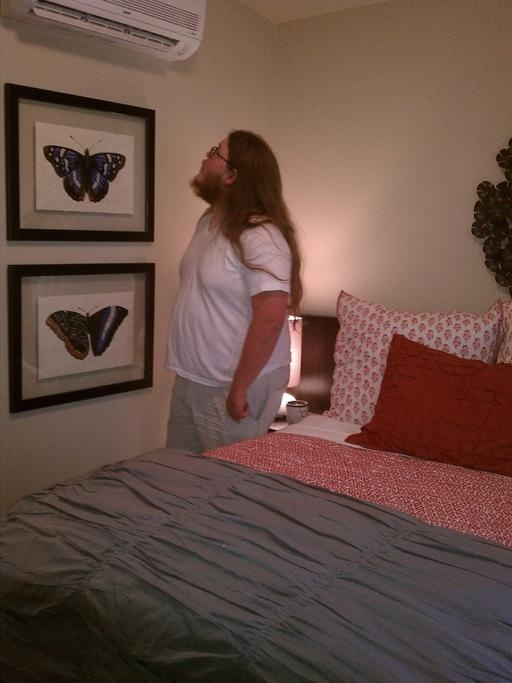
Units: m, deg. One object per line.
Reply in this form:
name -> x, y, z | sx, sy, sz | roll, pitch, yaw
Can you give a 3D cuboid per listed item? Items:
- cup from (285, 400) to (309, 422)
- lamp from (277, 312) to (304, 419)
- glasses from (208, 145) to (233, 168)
cup -> 0.179, 0.310, 2.361 | 0.094, 0.076, 0.090 | 1, -4, 0
lamp -> 0.186, 0.105, 2.596 | 0.120, 0.466, 0.141 | -4, 15, -41
glasses -> -0.125, -0.650, 1.871 | 0.085, 0.025, 0.080 | 29, 13, -33
